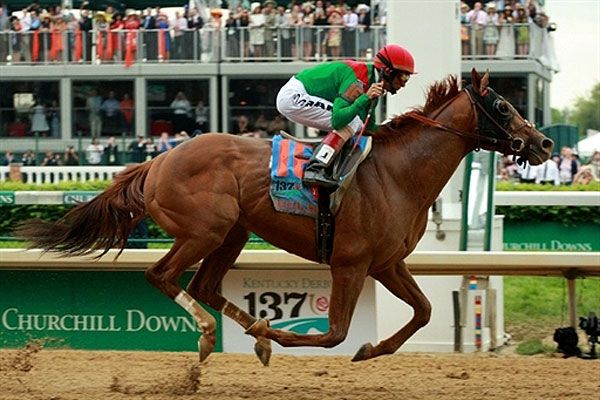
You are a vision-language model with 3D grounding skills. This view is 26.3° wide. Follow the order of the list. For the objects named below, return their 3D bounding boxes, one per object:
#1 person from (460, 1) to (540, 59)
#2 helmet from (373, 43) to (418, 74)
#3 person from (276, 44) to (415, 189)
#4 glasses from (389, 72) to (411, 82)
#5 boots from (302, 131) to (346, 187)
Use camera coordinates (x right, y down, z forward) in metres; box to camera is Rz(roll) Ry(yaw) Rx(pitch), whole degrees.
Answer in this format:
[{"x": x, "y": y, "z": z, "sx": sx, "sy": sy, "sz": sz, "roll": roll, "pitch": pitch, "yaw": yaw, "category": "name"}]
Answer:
[{"x": 3.906, "y": -3.224, "z": 24.041, "sx": 1.817, "sy": 1.086, "sz": 0.613, "roll": -2, "pitch": 3, "yaw": -19, "category": "person"}, {"x": 1.194, "y": -1.722, "z": 15.607, "sx": 0.495, "sy": 0.240, "sz": 0.318, "roll": 7, "pitch": 18, "yaw": -2, "category": "helmet"}, {"x": 0.570, "y": -1.134, "z": 15.783, "sx": 1.684, "sy": 1.683, "sz": 0.968, "roll": 10, "pitch": 14, "yaw": 14, "category": "person"}, {"x": 1.245, "y": -1.493, "z": 15.557, "sx": 0.185, "sy": 0.066, "sz": 0.128, "roll": 8, "pitch": 4, "yaw": 20, "category": "glasses"}, {"x": 0.354, "y": -0.493, "z": 15.364, "sx": 0.439, "sy": 0.643, "sz": 0.264, "roll": 26, "pitch": -12, "yaw": 6, "category": "boots"}]
